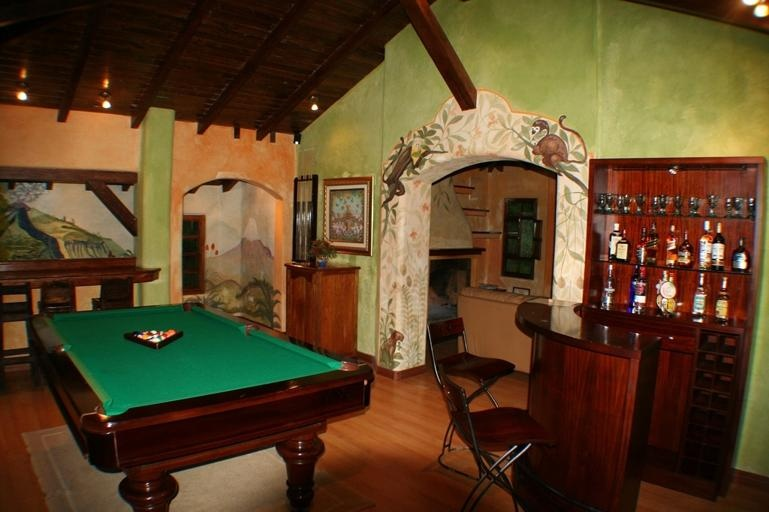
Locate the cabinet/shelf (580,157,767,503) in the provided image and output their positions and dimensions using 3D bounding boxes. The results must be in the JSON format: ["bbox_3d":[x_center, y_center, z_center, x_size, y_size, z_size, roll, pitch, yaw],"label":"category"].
[{"bbox_3d":[2.984,0.654,5.720,1.542,3.377,0.690,1,2,36],"label":"cabinet/shelf"}]

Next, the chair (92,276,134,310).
[{"bbox_3d":[-3.726,0.507,7.684,0.378,0.653,0.363,-3,15,-36],"label":"chair"}]

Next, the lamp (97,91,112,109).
[{"bbox_3d":[-3.809,-2.136,7.587,0.171,0.274,0.167,-8,-11,20],"label":"lamp"}]

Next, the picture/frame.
[{"bbox_3d":[-0.530,-0.607,8.553,0.088,1.168,1.106,-5,9,-40],"label":"picture/frame"}]

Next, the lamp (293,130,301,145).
[{"bbox_3d":[-1.472,-2.005,9.476,0.126,0.197,0.190,-2,2,-29],"label":"lamp"}]

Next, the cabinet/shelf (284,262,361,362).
[{"bbox_3d":[-0.805,0.769,7.855,0.838,1.592,1.189,-5,10,-41],"label":"cabinet/shelf"}]

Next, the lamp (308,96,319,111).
[{"bbox_3d":[-1.057,-2.291,8.485,0.179,0.184,0.043,8,32,10],"label":"lamp"}]

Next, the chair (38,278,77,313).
[{"bbox_3d":[-4.360,0.548,7.623,0.393,0.583,0.527,-5,-6,45],"label":"chair"}]
